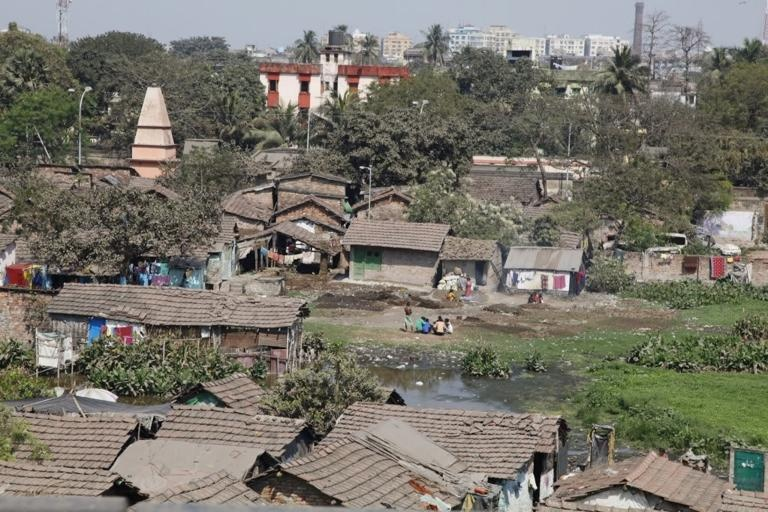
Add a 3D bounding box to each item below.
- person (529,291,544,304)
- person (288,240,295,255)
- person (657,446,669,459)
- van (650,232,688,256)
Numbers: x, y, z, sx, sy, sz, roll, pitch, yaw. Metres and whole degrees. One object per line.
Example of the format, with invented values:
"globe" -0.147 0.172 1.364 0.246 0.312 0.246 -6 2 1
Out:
"person" 9.287 2.589 84.527 0.855 0.996 0.691 -5 18 -8
"person" -5.915 -0.547 87.818 0.543 0.857 1.329 2 3 -3
"person" 12.744 9.043 63.082 0.452 0.452 0.767 13 27 5
"van" 19.758 -0.593 95.784 2.652 1.264 1.584 -5 17 -2
